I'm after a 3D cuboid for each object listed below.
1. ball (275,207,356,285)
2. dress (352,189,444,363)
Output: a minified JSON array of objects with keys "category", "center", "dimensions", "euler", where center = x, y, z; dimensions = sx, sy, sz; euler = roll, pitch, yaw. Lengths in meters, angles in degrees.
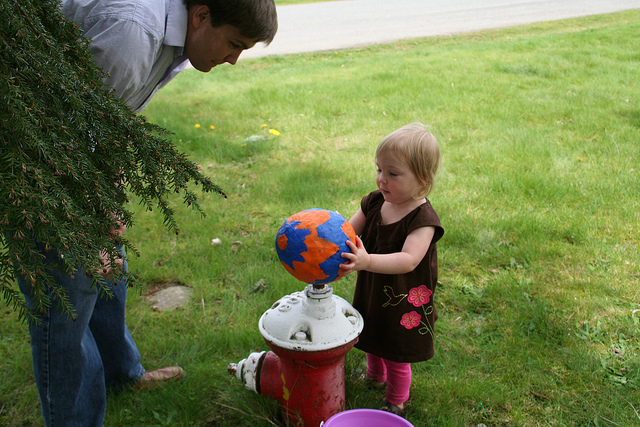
[{"category":"ball","center":[-0.010,0.207,3.838],"dimensions":[0.594,0.501,0.577],"euler":[-1,4,0]},{"category":"dress","center":[0.499,0.454,4.173],"dimensions":[0.562,1.086,0.789],"euler":[-8,13,-37]}]
